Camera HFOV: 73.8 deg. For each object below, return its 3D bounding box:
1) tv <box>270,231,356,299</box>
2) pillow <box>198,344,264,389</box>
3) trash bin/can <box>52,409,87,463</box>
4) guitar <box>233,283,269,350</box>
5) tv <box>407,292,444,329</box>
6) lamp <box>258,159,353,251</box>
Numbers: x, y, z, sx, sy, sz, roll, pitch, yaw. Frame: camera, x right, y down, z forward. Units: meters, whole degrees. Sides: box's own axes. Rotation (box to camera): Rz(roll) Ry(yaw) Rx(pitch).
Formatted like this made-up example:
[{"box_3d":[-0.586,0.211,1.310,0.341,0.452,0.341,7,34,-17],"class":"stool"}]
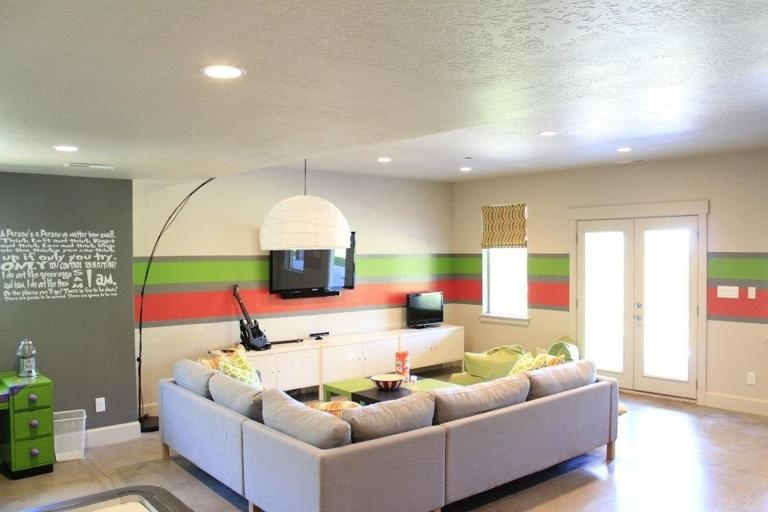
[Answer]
[{"box_3d":[-0.983,0.135,6.771,1.121,0.710,0.120,-2,7,-35],"class":"tv"},{"box_3d":[-1.626,1.184,5.455,0.163,0.498,0.557,-43,-37,23],"class":"pillow"},{"box_3d":[-3.318,1.899,5.430,0.289,0.464,0.299,-3,6,-31],"class":"trash bin/can"},{"box_3d":[-1.760,0.812,6.940,0.467,0.847,0.507,-3,6,-24],"class":"guitar"},{"box_3d":[0.678,0.911,8.629,0.657,0.439,0.205,-1,4,-29],"class":"tv"},{"box_3d":[-0.747,-0.374,4.875,0.657,0.637,0.635,-2,3,-7],"class":"lamp"}]
